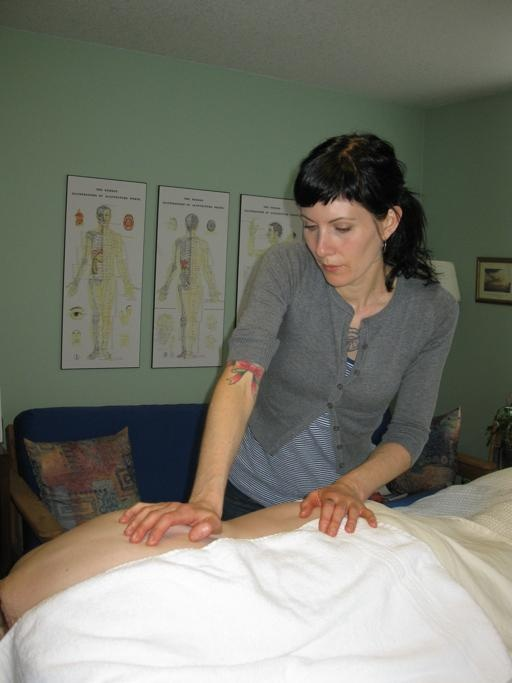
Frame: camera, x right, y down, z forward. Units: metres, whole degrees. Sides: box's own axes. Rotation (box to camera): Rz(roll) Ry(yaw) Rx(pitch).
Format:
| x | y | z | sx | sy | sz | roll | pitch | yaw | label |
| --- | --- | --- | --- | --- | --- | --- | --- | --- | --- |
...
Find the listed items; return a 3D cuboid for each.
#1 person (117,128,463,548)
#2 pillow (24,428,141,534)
| x | y | z | sx | sy | sz | roll | pitch | yaw | label |
| --- | --- | --- | --- | --- | --- | --- | --- | --- | --- |
| 0.110 | 0.037 | 1.080 | 0.470 | 0.849 | 0.724 | 6 | 7 | 18 | person |
| -0.656 | 0.537 | 2.330 | 0.444 | 0.380 | 0.121 | -7 | 1 | 1 | pillow |
